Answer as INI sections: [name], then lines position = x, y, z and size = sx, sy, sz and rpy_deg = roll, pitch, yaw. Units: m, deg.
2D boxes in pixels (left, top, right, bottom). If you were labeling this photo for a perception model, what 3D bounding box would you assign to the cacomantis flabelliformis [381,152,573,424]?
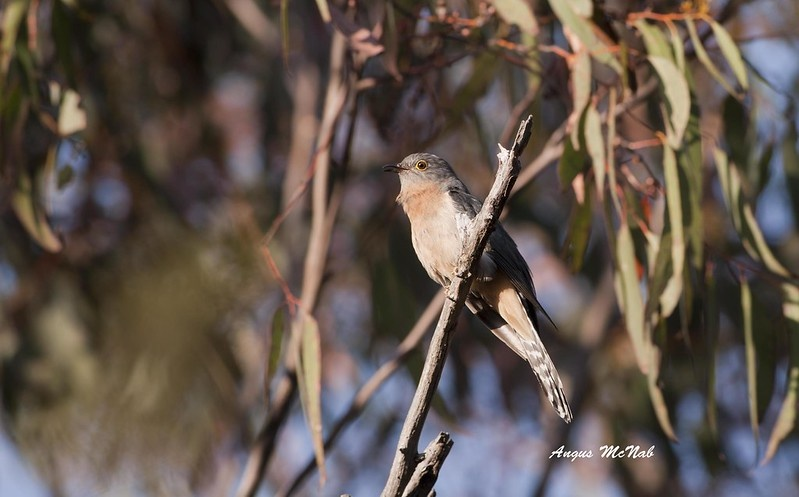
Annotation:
[cacomantis flabelliformis]
position = 0.487, 0.141, 7.190
size = 1.034, 1.183, 0.400
rpy_deg = 6, -6, -23
